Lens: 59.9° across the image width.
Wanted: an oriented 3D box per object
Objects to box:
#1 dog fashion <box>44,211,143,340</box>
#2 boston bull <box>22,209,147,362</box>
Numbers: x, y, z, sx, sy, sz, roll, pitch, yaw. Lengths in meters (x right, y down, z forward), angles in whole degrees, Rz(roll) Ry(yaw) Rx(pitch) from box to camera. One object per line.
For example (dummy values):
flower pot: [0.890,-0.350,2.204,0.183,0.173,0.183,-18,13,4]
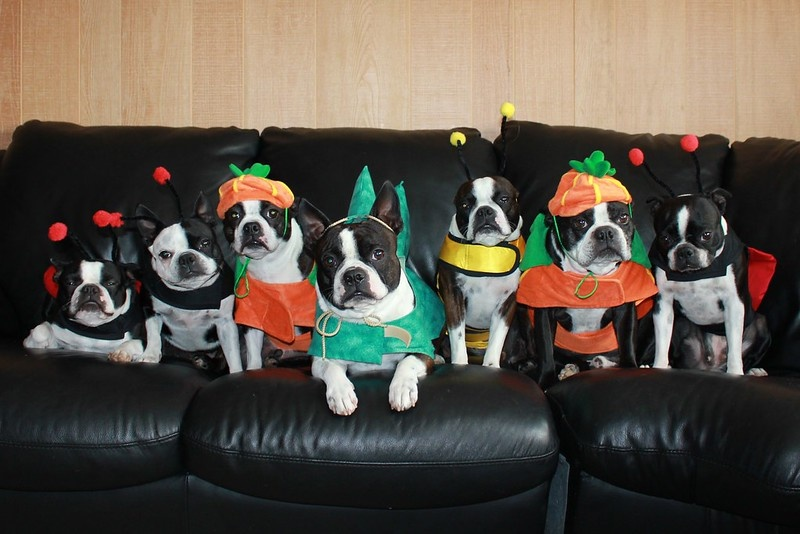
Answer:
dog fashion: [-1.671,-0.005,4.006,0.565,0.751,0.658,-1,1,-11]
boston bull: [-1.733,0.076,3.903,0.585,0.762,0.714,4,3,-24]
